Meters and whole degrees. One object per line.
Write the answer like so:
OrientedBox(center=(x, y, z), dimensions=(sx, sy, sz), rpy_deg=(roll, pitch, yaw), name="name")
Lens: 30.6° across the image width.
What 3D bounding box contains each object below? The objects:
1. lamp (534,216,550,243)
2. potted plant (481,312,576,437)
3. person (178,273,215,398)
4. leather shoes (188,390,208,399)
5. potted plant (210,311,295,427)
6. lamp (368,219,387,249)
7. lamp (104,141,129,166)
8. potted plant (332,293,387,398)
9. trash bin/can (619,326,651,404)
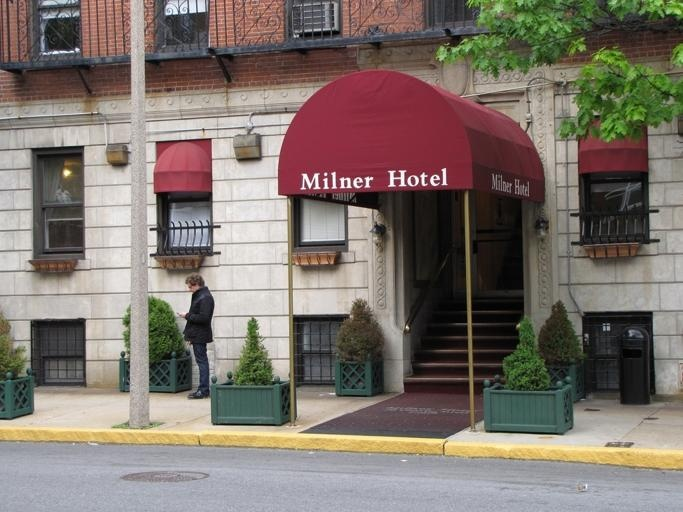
OrientedBox(center=(3.772, -0.522, 23.519), dimensions=(0.355, 0.421, 0.354), rpy_deg=(1, -1, 11), name="lamp")
OrientedBox(center=(3.044, 1.949, 20.298), dimensions=(1.321, 1.823, 1.095), rpy_deg=(-1, -1, 15), name="potted plant")
OrientedBox(center=(-2.693, 1.511, 23.550), dimensions=(0.572, 2.341, 0.695), rpy_deg=(-1, -5, -6), name="person")
OrientedBox(center=(-2.750, 2.634, 23.795), dimensions=(0.398, 0.164, 0.164), rpy_deg=(3, 3, 1), name="leather shoes")
OrientedBox(center=(-1.468, 2.027, 21.407), dimensions=(1.226, 1.653, 1.079), rpy_deg=(0, -8, 6), name="potted plant")
OrientedBox(center=(0.698, -0.406, 24.271), dimensions=(0.358, 0.602, 0.315), rpy_deg=(-3, -5, 16), name="lamp")
OrientedBox(center=(-4.550, -2.042, 25.625), dimensions=(0.624, 0.586, 0.390), rpy_deg=(-1, -4, 12), name="lamp")
OrientedBox(center=(0.365, 1.749, 24.049), dimensions=(1.008, 1.816, 0.969), rpy_deg=(1, -5, 0), name="potted plant")
OrientedBox(center=(5.282, 1.976, 22.522), dimensions=(0.530, 1.397, 0.344), rpy_deg=(-3, -5, 11), name="trash bin/can")
